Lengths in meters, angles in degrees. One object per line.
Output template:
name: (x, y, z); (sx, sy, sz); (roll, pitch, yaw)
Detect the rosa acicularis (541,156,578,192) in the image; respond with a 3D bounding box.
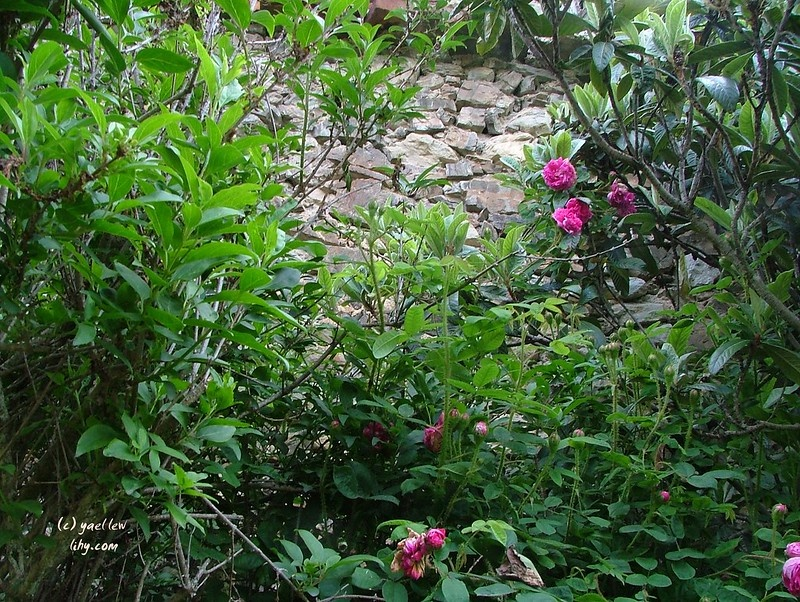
rosa acicularis: (0.528, -0.408, 2.171); (0.108, 0.109, 0.074); (1, -12, 14)

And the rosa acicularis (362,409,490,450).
rosa acicularis: (0.064, 0.293, 1.449); (0.139, 0.104, 0.317); (19, -17, -35)
